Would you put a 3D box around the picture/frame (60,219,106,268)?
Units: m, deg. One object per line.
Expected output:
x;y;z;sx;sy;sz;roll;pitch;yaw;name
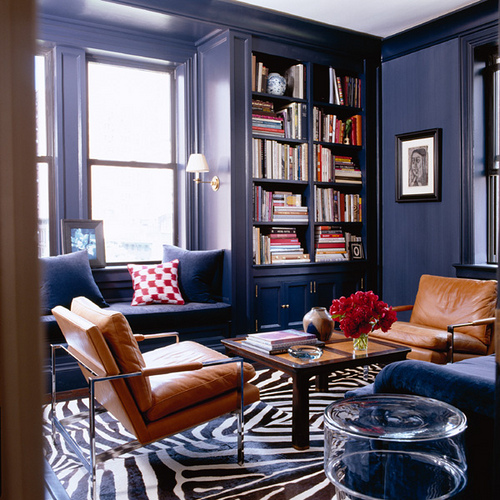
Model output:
-1.493;-0.059;4.088;0.034;0.489;0.451;-6;-4;41;picture/frame

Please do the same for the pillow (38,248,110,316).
-1.231;0.214;3.222;0.182;0.374;0.491;-12;-3;37;pillow

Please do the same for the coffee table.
0.263;0.751;2.898;0.690;0.330;0.677;-2;2;-37;coffee table

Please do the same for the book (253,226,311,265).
0.324;-0.039;4.639;0.667;0.357;0.174;-2;1;-40;book

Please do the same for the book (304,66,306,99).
0.570;-1.731;4.756;0.039;0.341;0.022;-1;1;-21;book

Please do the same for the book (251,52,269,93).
0.100;-1.704;4.518;0.087;0.377;0.277;0;1;40;book

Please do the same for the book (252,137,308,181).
0.281;-0.904;4.608;0.460;0.405;0.177;-4;7;-30;book

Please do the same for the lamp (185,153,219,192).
-0.445;-0.722;4.359;0.301;0.337;0.210;0;3;-24;lamp

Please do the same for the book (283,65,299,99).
0.421;-1.718;4.739;0.154;0.312;0.046;0;1;37;book

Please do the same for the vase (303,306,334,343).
0.472;0.500;3.130;0.225;0.259;0.226;-1;-6;24;vase

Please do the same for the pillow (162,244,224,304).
-0.525;0.241;4.272;0.535;0.505;0.293;3;2;27;pillow

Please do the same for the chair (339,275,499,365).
1.482;0.532;3.649;0.768;0.688;0.758;1;-2;-25;chair

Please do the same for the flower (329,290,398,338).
0.709;0.441;3.016;0.336;0.288;0.333;-7;26;-23;flower

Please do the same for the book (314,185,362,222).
0.948;-0.493;5.037;0.413;0.371;0.155;-3;6;-29;book

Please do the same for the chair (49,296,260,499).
-0.506;0.566;2.494;0.978;0.895;0.819;-3;4;-31;chair

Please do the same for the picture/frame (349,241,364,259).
1.186;0.008;5.153;0.191;0.213;0.018;3;-10;-29;picture/frame
